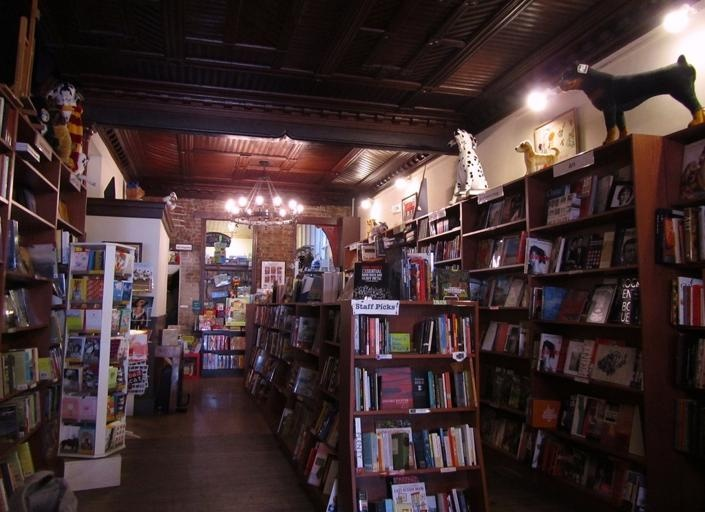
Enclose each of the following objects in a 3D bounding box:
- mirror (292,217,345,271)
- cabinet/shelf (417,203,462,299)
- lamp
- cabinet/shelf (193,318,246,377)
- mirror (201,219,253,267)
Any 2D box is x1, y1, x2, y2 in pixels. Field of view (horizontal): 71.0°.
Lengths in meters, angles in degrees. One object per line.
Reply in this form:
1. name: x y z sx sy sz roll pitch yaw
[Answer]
1. mirror: -0.703 -0.418 12.278 1.010 1.507 1.481 6 -8 -42
2. cabinet/shelf: 1.080 -0.063 5.988 0.305 1.262 1.086 0 -1 -12
3. lamp: -1.760 -0.977 10.060 1.487 1.510 1.480 0 -1 1
4. cabinet/shelf: -2.801 1.990 10.543 1.130 1.106 0.386 0 -1 -6
5. mirror: -3.151 -0.296 12.191 0.293 0.916 0.931 -15 -19 40
